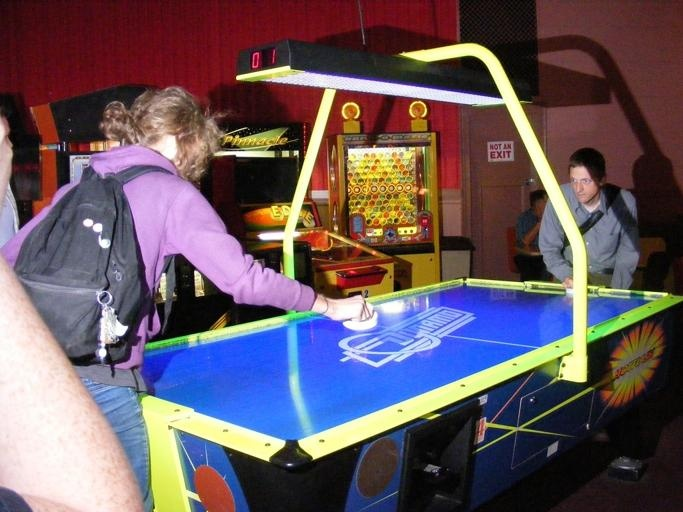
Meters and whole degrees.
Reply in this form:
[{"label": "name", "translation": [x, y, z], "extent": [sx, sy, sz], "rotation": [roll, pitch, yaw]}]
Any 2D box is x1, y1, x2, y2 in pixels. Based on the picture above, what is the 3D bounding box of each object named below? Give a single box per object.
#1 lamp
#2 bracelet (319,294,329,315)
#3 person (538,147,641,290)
[{"label": "lamp", "translation": [0.171, -0.687, 2.199], "extent": [1.124, 0.121, 0.330], "rotation": [-8, 14, -41]}, {"label": "bracelet", "translation": [-0.055, 0.163, 1.940], "extent": [0.037, 0.051, 0.038], "rotation": [-6, 39, -7]}, {"label": "person", "translation": [1.402, -0.217, 3.334], "extent": [0.565, 0.812, 0.496], "rotation": [-3, 8, -16]}]
